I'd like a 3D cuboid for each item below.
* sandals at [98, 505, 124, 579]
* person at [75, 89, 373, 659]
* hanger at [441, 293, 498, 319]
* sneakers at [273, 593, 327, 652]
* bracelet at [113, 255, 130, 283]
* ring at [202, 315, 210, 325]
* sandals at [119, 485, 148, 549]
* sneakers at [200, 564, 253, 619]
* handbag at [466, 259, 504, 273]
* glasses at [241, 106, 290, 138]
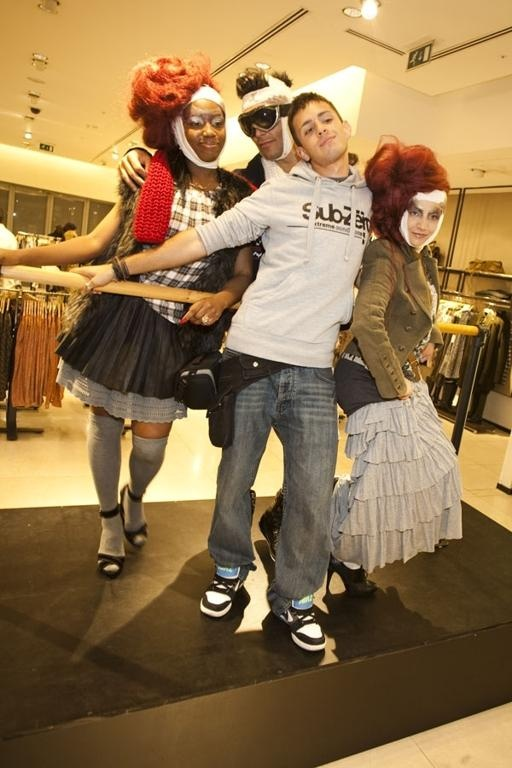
[{"bbox_3d":[-0.444,0.488,1.565,0.069,0.096,0.232,-2,36,-8],"label":"sandals"},{"bbox_3d":[0.009,-0.044,1.358,0.557,1.174,0.250,8,3,6],"label":"person"},{"bbox_3d":[2.521,-0.912,6.156,0.365,0.173,0.476,8,6,-5],"label":"hanger"},{"bbox_3d":[0.120,0.647,1.368,0.063,0.086,0.192,3,3,-26],"label":"sneakers"},{"bbox_3d":[-0.337,-0.289,1.249,0.019,0.055,0.054,-18,-31,1],"label":"bracelet"},{"bbox_3d":[-0.128,-0.164,1.300,0.020,0.019,0.006,-4,14,-23],"label":"ring"},{"bbox_3d":[-0.413,0.472,1.748,0.076,0.232,0.090,-8,-6,-12],"label":"sandals"},{"bbox_3d":[-0.090,0.596,1.460,0.077,0.109,0.241,7,0,13],"label":"sneakers"},{"bbox_3d":[2.951,-1.532,6.435,0.430,0.192,0.434,11,5,34],"label":"handbag"},{"bbox_3d":[0.023,-0.912,1.713,0.114,0.047,0.123,-8,23,40],"label":"glasses"}]
